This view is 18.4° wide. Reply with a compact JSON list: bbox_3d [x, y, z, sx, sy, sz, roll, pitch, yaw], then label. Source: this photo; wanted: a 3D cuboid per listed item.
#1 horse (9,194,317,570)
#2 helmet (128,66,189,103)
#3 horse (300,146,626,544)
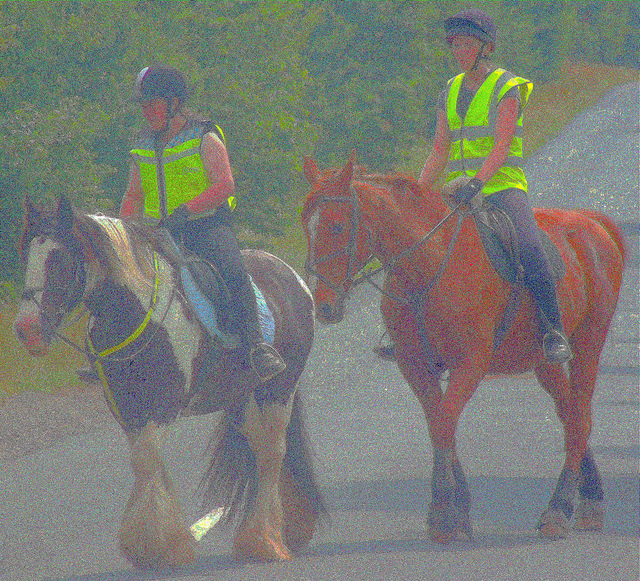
[{"bbox_3d":[-0.788,0.526,11.050,1.742,2.247,0.822,-11,25,-20],"label":"horse"},{"bbox_3d":[-0.902,-1.167,11.135,0.321,0.199,0.125,-3,24,-3],"label":"helmet"},{"bbox_3d":[0.987,0.336,11.697,0.881,2.370,3.340,2,4,41],"label":"horse"}]
